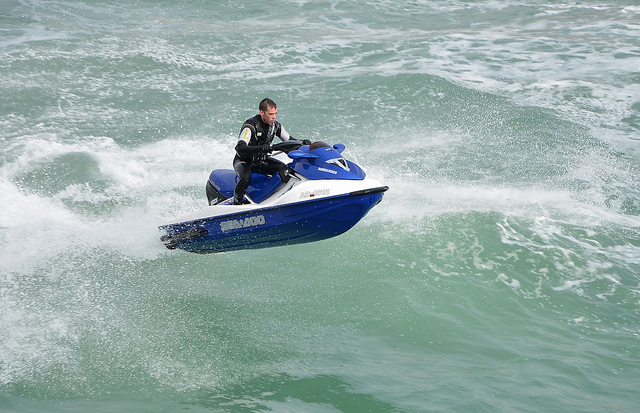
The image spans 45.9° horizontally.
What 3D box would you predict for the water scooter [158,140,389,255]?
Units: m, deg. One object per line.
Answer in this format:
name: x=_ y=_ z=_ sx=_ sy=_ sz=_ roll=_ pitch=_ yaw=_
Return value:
water scooter: x=-0.569 y=-0.143 z=13.499 sx=2.126 sy=4.526 sz=1.162 roll=-11 pitch=93 yaw=-47
